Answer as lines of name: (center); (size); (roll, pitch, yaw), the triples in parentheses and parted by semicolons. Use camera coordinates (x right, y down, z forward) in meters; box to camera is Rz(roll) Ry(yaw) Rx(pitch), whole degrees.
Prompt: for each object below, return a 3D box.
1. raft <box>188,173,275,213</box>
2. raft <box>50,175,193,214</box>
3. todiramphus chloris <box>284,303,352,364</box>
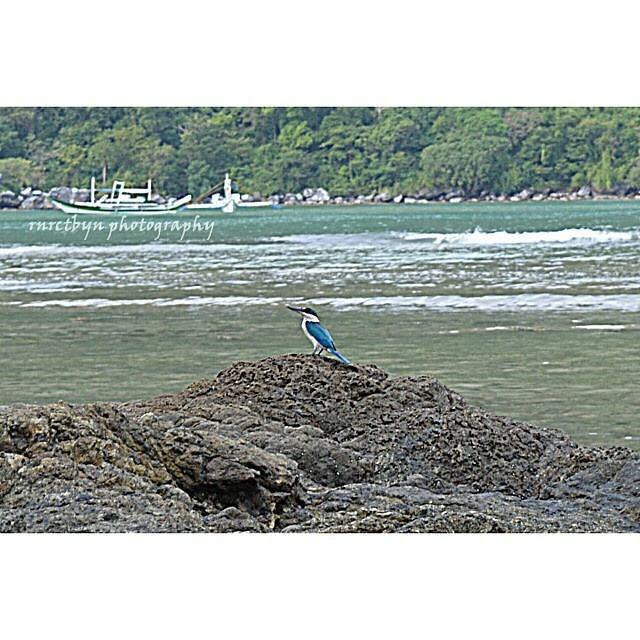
raft: (-2.037, -2.985, 45.288); (1.787, 0.993, 2.025); (4, 7, 26)
raft: (-4.333, -2.808, 43.868); (1.434, 0.877, 3.734); (6, 8, 40)
todiramphus chloris: (0.093, 0.121, 31.297); (0.781, 0.999, 0.781); (-8, 11, -31)
